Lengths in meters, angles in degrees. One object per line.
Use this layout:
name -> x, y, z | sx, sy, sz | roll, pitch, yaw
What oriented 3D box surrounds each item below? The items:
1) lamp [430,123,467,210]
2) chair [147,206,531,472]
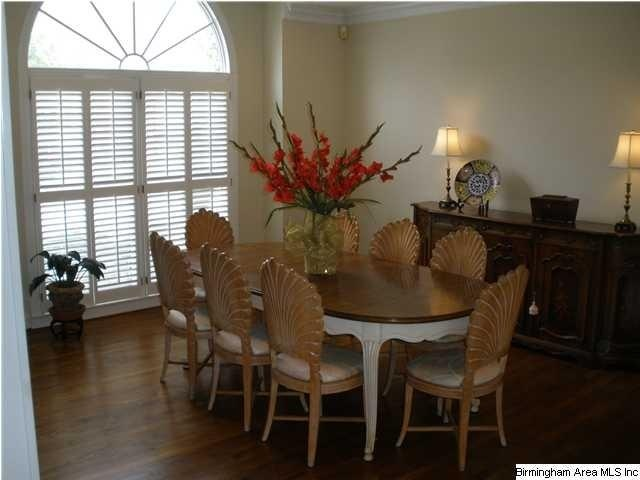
lamp -> 1.125, -0.676, 4.442 | 0.269, 0.703, 0.556 | 2, 14, 12
chair -> 0.299, 0.582, 2.804 | 1.556, 1.109, 0.875 | 3, 14, 14
